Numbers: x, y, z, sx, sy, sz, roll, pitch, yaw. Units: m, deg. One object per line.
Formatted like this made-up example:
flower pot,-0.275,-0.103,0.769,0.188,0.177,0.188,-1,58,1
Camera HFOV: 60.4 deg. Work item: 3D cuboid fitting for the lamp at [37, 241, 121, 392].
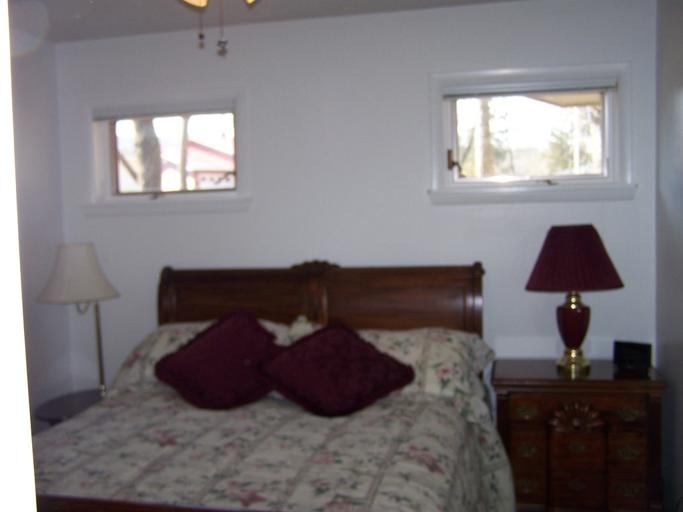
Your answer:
lamp,-1.548,0.397,3.545,0.407,0.996,0.517,-5,12,-18
